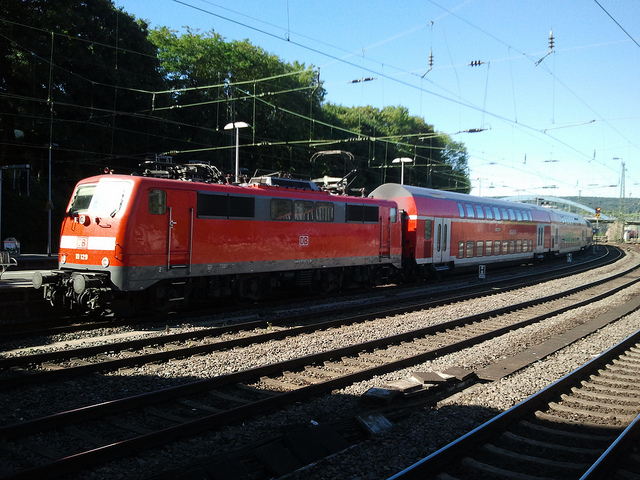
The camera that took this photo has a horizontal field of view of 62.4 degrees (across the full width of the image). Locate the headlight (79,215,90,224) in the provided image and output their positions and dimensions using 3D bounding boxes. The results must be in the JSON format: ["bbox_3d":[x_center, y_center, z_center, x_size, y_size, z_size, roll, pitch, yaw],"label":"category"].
[{"bbox_3d":[-6.340,-0.533,13.995,0.249,0.230,0.246,5,2,36],"label":"headlight"}]

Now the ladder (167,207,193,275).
[{"bbox_3d":[-3.871,0.045,14.422,0.164,1.856,0.804,2,4,35],"label":"ladder"}]

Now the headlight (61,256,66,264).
[{"bbox_3d":[-7.100,0.541,14.421,0.245,0.223,0.059,-1,-1,31],"label":"headlight"}]
